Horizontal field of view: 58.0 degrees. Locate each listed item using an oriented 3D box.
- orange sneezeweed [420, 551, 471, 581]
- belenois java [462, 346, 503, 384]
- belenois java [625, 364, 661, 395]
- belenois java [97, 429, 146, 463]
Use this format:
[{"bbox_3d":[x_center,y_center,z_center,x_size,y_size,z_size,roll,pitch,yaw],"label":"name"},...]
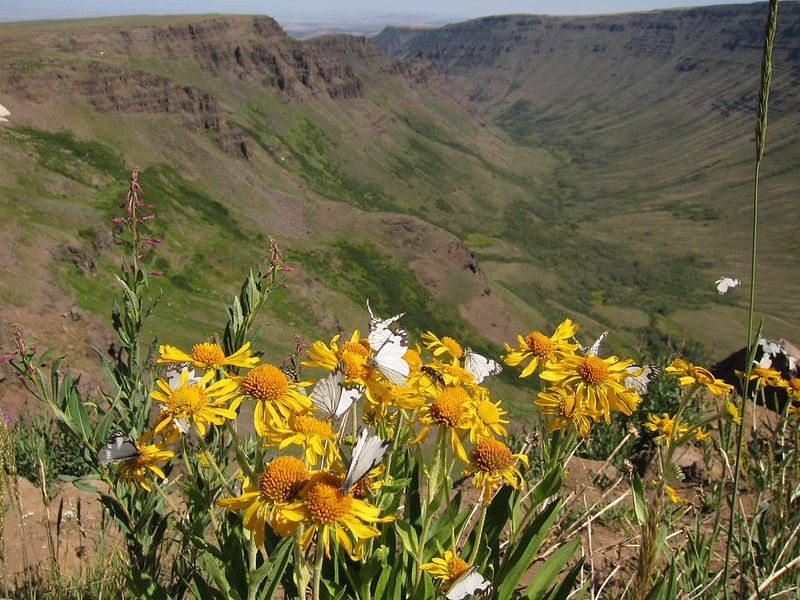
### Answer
[{"bbox_3d":[0.404,2.586,6.986,0.347,0.152,0.339,-31,13,-31],"label":"orange sneezeweed"},{"bbox_3d":[0.816,0.718,7.754,0.378,0.241,0.392,27,3,38],"label":"belenois java"},{"bbox_3d":[2.463,0.860,7.575,0.185,0.312,0.327,19,20,22],"label":"belenois java"},{"bbox_3d":[-2.785,1.502,7.171,0.301,0.179,0.321,-8,32,-21],"label":"belenois java"}]
